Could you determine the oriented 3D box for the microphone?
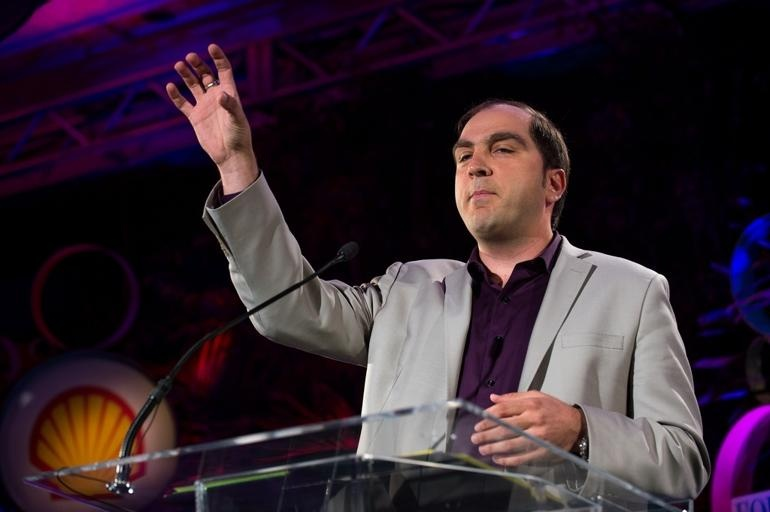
[{"bbox_3d":[-0.711,0.535,3.876,0.298,0.197,1.806,34,-55,-30],"label":"microphone"}]

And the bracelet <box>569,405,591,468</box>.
[{"bbox_3d":[0.671,0.615,2.827,0.038,0.166,0.111,-6,5,-41],"label":"bracelet"}]

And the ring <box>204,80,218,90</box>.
[{"bbox_3d":[-0.633,-0.638,3.123,0.040,0.017,0.032,-33,9,11],"label":"ring"}]
